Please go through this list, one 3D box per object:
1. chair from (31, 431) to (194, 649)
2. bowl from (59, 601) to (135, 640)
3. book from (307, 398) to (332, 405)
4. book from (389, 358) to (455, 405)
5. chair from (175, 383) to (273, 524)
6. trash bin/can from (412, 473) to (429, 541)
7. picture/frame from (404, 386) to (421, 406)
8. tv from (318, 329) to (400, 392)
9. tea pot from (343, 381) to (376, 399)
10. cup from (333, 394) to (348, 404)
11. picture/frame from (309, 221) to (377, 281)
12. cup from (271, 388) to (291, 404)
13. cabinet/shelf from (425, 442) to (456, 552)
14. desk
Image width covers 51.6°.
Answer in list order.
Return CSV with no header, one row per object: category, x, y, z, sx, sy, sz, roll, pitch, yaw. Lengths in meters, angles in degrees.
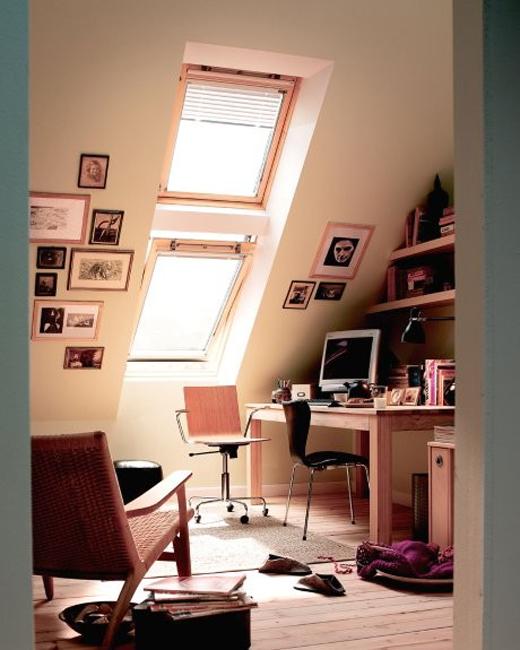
chair,-0.540,0.729,1.843,0.421,0.730,0.770,-3,-10,11
bowl,-0.563,1.039,1.881,0.190,0.053,0.182,2,-2,0
book,0.428,0.562,3.902,0.121,0.021,0.084,13,16,24
book,1.120,0.406,3.689,0.260,0.304,0.792,-1,-9,-2
chair,-0.242,0.997,4.235,0.723,0.988,0.773,-2,-7,30
trash bin/can,1.024,1.171,3.451,0.112,0.415,0.109,5,-20,3
picture/frame,1.026,0.488,3.635,0.009,0.114,0.120,18,-1,-29
tv,0.654,0.278,4.441,0.555,0.485,0.297,2,6,-22
tea pot,0.645,0.431,3.529,0.152,0.102,0.108,-1,0,1
cup,0.607,0.554,4.107,0.085,0.054,0.092,1,6,0
picture/frame,0.634,-0.607,4.254,0.556,0.599,0.028,2,37,-22
cup,0.173,0.597,4.533,0.149,0.104,0.154,-1,-4,0
cabinet/shelf,0.924,0.901,2.827,0.111,0.549,0.297,0,-10,-4
desk,0.842,0.909,3.769,0.803,0.695,1.457,-1,-6,-15
